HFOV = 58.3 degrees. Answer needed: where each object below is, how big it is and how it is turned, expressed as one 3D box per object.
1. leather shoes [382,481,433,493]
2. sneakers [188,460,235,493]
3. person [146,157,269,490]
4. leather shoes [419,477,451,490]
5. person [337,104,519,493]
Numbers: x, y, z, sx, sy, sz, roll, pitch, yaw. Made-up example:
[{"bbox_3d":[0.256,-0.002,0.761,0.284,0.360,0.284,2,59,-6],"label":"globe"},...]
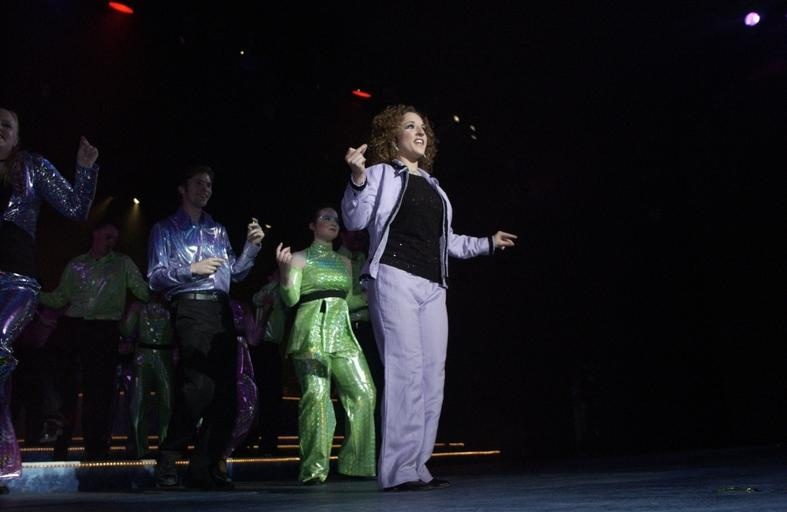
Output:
[{"bbox_3d":[0.089,1.595,4.904,0.330,0.061,0.118,0,-22,-2],"label":"leather shoes"},{"bbox_3d":[-1.374,1.685,5.421,0.408,0.269,0.145,3,-7,-25],"label":"sneakers"},{"bbox_3d":[-1.513,0.499,5.612,0.967,2.524,0.792,-12,-25,26],"label":"person"},{"bbox_3d":[0.290,1.611,4.969,0.213,0.085,0.069,-4,3,-13],"label":"leather shoes"},{"bbox_3d":[0.086,0.184,5.140,0.689,2.860,1.225,-17,-27,34],"label":"person"}]
